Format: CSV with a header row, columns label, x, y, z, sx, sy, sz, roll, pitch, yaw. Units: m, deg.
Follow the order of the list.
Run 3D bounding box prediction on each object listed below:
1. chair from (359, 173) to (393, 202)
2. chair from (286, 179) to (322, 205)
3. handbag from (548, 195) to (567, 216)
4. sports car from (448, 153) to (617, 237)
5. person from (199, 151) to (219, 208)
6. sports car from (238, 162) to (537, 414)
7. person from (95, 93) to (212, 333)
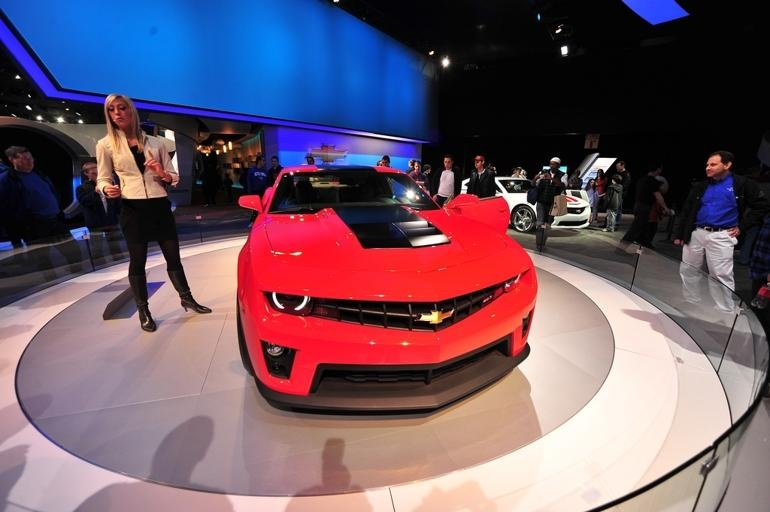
label,x,y,z,sx,sy,sz,roll,pitch,yaw
chair,-0.131,-0.932,5.644,0.287,0.147,0.475,-1,44,-9
chair,-1.061,-0.845,5.441,0.285,0.391,0.378,4,-8,-18
handbag,3.420,-1.014,8.400,0.363,0.345,0.195,-10,14,-38
sports car,3.190,-1.556,10.868,4.173,1.276,1.943,5,11,37
person,-5.982,-2.603,14.300,0.534,2.193,0.535,1,29,-29
sports car,-0.130,0.159,4.976,3.530,2.154,2.436,0,18,-1
person,-3.014,-0.581,5.353,0.946,2.884,0.785,-8,5,-21
